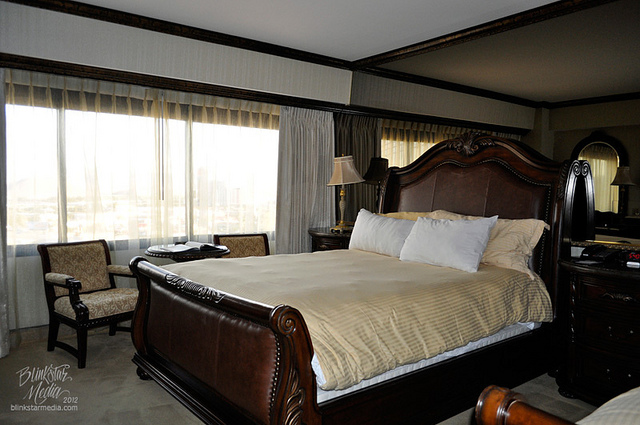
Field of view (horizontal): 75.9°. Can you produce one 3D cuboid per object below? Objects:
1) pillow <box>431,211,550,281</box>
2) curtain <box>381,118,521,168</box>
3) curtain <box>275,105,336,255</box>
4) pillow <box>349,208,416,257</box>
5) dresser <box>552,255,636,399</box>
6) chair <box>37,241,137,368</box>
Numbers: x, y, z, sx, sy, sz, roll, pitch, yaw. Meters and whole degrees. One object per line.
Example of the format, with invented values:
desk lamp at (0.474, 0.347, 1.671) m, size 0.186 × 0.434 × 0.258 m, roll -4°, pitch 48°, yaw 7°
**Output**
pillow at (1.767, 0.340, 4.316) m, size 0.676 × 0.541 × 0.997 m, roll 2°, pitch 3°, yaw -27°
curtain at (1.970, -1.236, 7.363) m, size 0.856 × 0.749 × 2.816 m, roll 6°, pitch 7°, yaw 44°
curtain at (-0.273, -0.586, 6.318) m, size 0.787 × 2.377 × 0.320 m, roll 0°, pitch 4°, yaw -33°
pillow at (0.724, 0.286, 4.859) m, size 0.856 × 0.520 × 0.281 m, roll 10°, pitch -12°, yaw 46°
dresser at (2.522, 1.081, 3.862) m, size 0.680 × 1.136 × 0.794 m, roll 2°, pitch 1°, yaw -15°
chair at (-2.629, 0.980, 4.786) m, size 1.144 × 1.261 × 1.075 m, roll -1°, pitch 4°, yaw -34°
